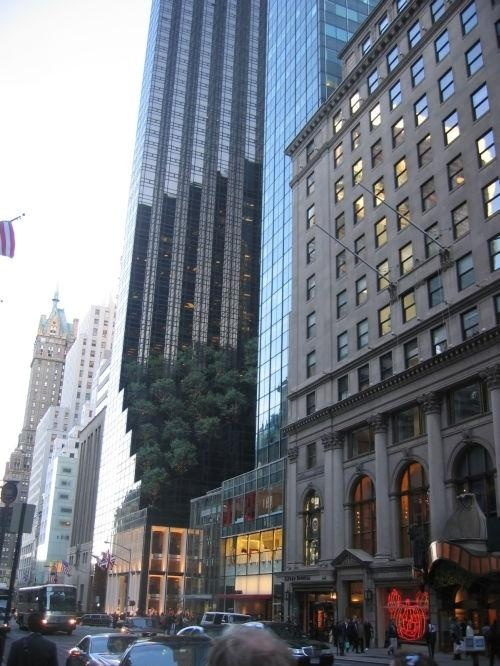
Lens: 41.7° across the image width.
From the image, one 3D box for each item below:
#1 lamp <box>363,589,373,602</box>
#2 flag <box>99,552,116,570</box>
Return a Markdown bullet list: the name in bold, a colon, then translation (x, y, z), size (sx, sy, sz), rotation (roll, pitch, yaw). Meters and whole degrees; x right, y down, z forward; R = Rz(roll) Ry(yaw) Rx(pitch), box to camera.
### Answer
- **lamp**: translation (6.424, 14.340, 35.702), size (0.249, 0.689, 0.508), rotation (15, -26, -29)
- **flag**: translation (-16.742, 26.708, 77.141), size (1.495, 2.052, 6.401), rotation (5, -23, -8)
